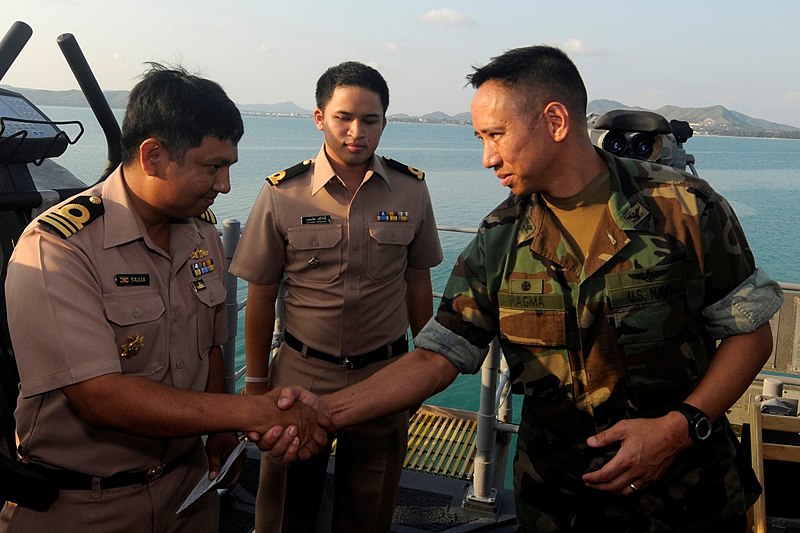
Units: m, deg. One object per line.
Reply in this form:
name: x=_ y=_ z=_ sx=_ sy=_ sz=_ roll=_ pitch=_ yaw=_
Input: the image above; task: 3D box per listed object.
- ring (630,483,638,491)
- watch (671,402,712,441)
ring: x=0.832 y=0.791 z=1.935 sx=0.028 sy=0.026 sz=0.006 roll=-32 pitch=3 yaw=6
watch: x=1.081 y=0.585 z=1.975 sx=0.065 sy=0.090 sz=0.092 roll=-19 pitch=-12 yaw=1
